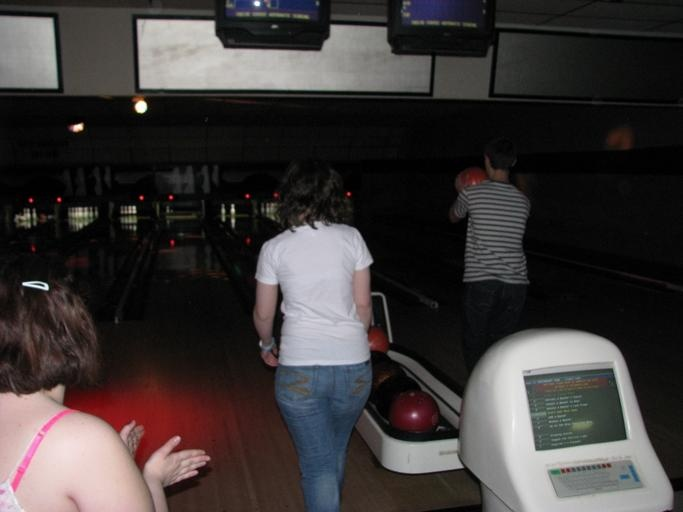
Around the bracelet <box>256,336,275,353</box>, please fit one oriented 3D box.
[{"bbox_3d":[-0.290,0.335,1.866,0.080,0.060,0.112,-2,0,3],"label":"bracelet"}]

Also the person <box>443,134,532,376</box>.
[{"bbox_3d":[0.725,0.032,2.482,0.396,1.222,0.406,2,10,20],"label":"person"}]
